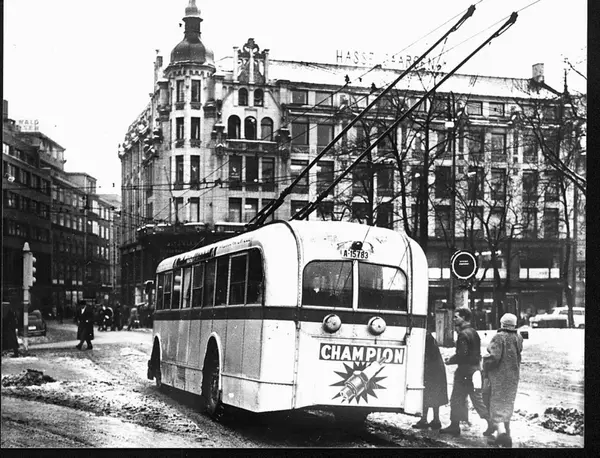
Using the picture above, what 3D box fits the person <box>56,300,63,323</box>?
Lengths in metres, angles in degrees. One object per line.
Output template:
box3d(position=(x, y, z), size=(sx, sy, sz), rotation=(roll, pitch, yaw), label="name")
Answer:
box3d(position=(-7.828, 2.728, 32.094), size=(0.247, 0.668, 0.706), rotation=(-3, -1, -14), label="person")

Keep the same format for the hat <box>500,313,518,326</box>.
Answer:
box3d(position=(4.493, 1.944, 20.981), size=(0.386, 0.273, 0.220), rotation=(-4, -1, -24), label="hat")

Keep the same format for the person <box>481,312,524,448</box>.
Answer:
box3d(position=(4.388, 3.276, 21.209), size=(0.884, 2.918, 0.729), rotation=(-4, -1, 23), label="person")

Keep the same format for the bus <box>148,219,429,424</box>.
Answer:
box3d(position=(-1.437, 2.625, 25.419), size=(3.498, 4.624, 10.605), rotation=(13, -11, -25), label="bus")
